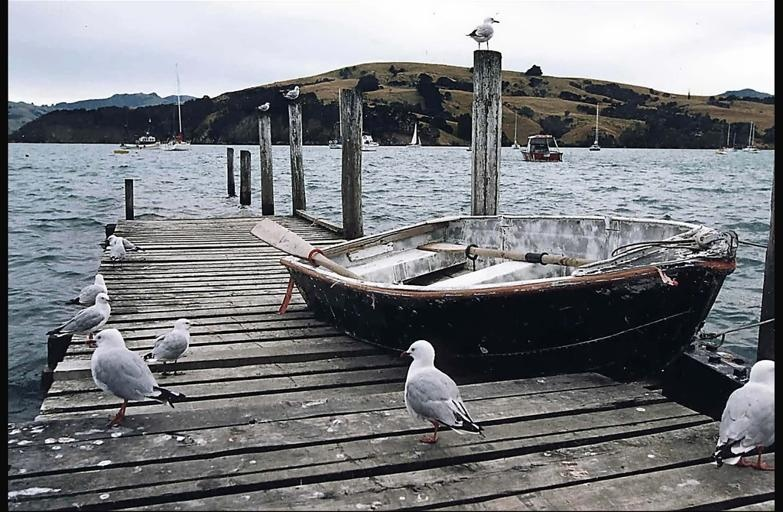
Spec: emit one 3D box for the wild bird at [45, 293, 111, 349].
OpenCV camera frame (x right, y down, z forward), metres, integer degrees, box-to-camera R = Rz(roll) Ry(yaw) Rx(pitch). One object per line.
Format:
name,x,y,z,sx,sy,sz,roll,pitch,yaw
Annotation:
wild bird,-3.153,0.628,6.749,0.555,0.513,0.473,-6,14,-28

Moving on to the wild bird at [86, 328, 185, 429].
wild bird,-2.052,0.895,5.244,0.830,0.462,0.278,9,15,31

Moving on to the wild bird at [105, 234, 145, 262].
wild bird,-4.101,-0.163,10.323,0.534,0.368,0.850,-4,13,-23

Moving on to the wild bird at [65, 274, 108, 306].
wild bird,-4.181,0.476,9.147,0.662,0.492,0.366,-7,19,-27

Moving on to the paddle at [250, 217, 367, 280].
paddle,-1.152,-0.090,9.230,2.186,0.389,0.233,32,-3,46

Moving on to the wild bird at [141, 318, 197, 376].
wild bird,-2.026,0.837,6.462,0.666,0.599,0.320,1,6,-42

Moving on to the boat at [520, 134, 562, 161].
boat,15.476,-10.975,69.684,3.612,3.192,7.802,-3,9,0

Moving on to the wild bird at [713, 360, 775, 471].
wild bird,2.575,1.197,4.839,0.519,0.791,0.327,-2,13,-15
